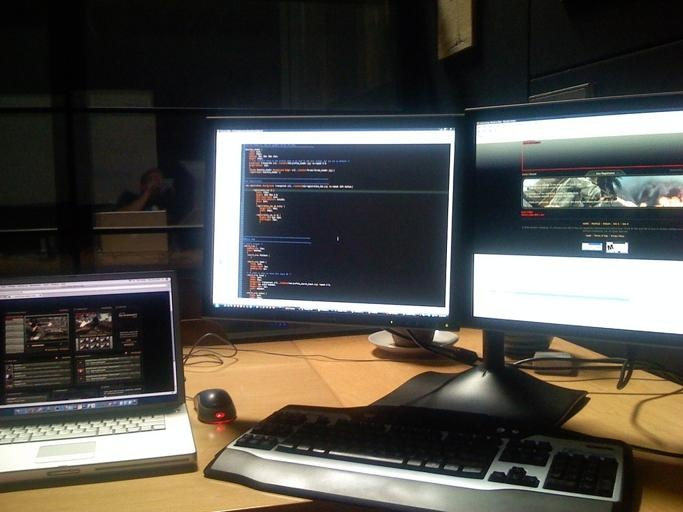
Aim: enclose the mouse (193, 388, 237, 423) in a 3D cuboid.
[{"bbox_3d":[-0.284,0.316,1.274,0.092,0.052,0.147,-2,9,-22],"label":"mouse"}]
